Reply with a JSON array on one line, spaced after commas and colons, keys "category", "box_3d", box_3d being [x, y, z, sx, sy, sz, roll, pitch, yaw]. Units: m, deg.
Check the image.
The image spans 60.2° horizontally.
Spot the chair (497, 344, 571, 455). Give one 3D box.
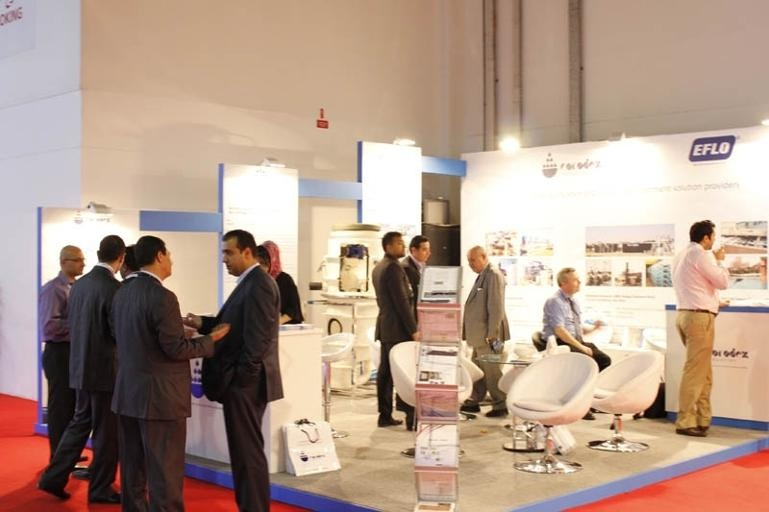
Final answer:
[{"category": "chair", "box_3d": [1.633, 1.556, 7.219, 0.962, 1.024, 0.994, -2, -4, 43]}]

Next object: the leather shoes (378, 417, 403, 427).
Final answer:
[{"category": "leather shoes", "box_3d": [0.067, 1.912, 7.716, 0.314, 0.126, 0.104, -1, 0, -30]}]

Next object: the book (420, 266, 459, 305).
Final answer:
[{"category": "book", "box_3d": [0.457, 0.233, 5.376, 0.336, 0.278, 0.222, -1, 4, 7]}]

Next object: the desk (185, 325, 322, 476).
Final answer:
[{"category": "desk", "box_3d": [-1.094, 1.260, 5.752, 1.574, 1.478, 0.881, -3, -4, 40]}]

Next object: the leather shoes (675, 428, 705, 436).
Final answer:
[{"category": "leather shoes", "box_3d": [3.412, 1.947, 7.332, 0.270, 0.103, 0.099, -5, -7, 21]}]

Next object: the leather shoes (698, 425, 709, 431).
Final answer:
[{"category": "leather shoes", "box_3d": [3.601, 1.927, 7.430, 0.125, 0.048, 0.040, -4, -1, -10]}]

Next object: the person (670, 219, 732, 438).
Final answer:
[{"category": "person", "box_3d": [3.546, 0.787, 7.408, 0.537, 2.362, 0.478, -1, 4, 13]}]

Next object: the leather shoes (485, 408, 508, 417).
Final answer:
[{"category": "leather shoes", "box_3d": [1.392, 1.918, 8.122, 0.279, 0.114, 0.101, 5, -7, -28]}]

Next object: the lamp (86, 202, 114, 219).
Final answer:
[{"category": "lamp", "box_3d": [-3.562, -0.573, 8.339, 0.206, 0.210, 0.367, 1, 4, 35]}]

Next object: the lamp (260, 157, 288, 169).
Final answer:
[{"category": "lamp", "box_3d": [-1.600, -1.331, 9.448, 0.318, 0.159, 0.262, -3, 3, -17]}]
